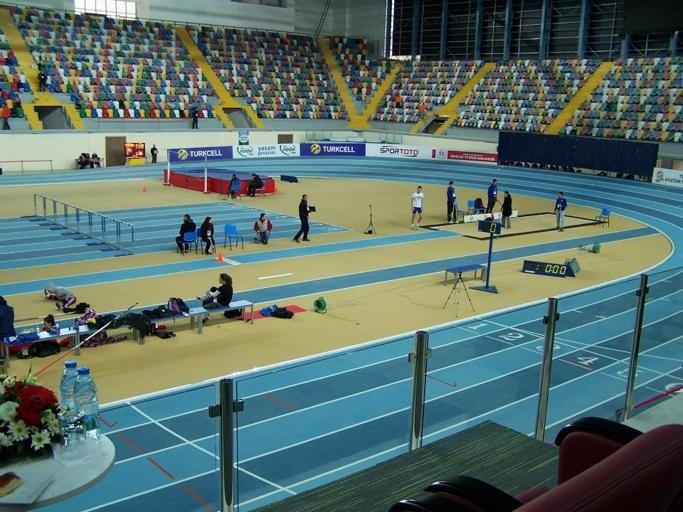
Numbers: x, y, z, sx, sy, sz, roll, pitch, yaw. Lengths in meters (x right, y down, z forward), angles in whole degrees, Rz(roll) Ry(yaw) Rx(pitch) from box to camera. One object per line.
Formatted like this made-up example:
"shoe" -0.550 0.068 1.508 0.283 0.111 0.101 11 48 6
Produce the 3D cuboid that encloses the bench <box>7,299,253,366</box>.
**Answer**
"bench" -4.278 1.290 11.477 4.856 0.654 2.280 -11 17 -33

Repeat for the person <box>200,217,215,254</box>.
"person" -4.302 -0.697 17.492 0.404 1.181 1.057 -7 17 -13

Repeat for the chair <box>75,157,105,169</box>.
"chair" -15.865 -5.837 34.037 1.400 0.719 0.610 -9 18 -26

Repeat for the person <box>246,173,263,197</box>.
"person" -4.239 -3.474 26.807 0.814 1.117 0.703 -4 18 -7

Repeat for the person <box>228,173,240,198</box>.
"person" -5.195 -3.369 26.350 0.590 1.169 0.819 -5 17 -10

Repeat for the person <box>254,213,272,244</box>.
"person" -2.636 -0.917 18.347 0.505 1.069 0.612 -5 18 -8

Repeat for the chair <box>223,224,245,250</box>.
"chair" -3.647 -0.710 18.394 0.662 0.719 1.392 -5 15 -10

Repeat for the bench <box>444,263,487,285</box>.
"bench" 3.362 0.535 14.344 1.282 0.457 0.558 -9 24 -24

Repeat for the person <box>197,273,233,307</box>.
"person" -2.731 0.741 11.780 0.851 0.657 0.655 5 10 5

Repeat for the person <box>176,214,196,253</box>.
"person" -4.934 -0.731 17.158 0.621 1.295 1.011 -7 18 -15
